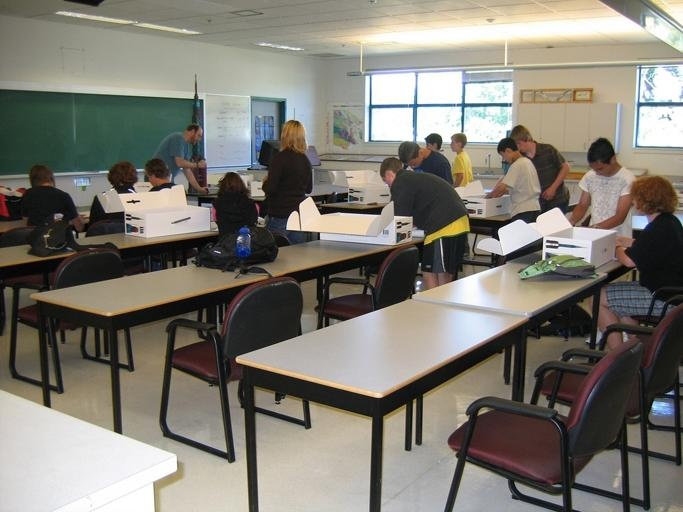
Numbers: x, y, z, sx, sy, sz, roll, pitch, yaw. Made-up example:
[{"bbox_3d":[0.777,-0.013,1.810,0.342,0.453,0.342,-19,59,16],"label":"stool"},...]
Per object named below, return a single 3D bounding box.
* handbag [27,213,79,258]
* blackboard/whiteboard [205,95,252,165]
[{"bbox_3d":[-2.206,-0.134,4.197,0.243,0.331,0.344,-1,-4,34],"label":"handbag"},{"bbox_3d":[-2.168,-2.387,10.441,0.170,1.384,1.100,7,15,32],"label":"blackboard/whiteboard"}]
